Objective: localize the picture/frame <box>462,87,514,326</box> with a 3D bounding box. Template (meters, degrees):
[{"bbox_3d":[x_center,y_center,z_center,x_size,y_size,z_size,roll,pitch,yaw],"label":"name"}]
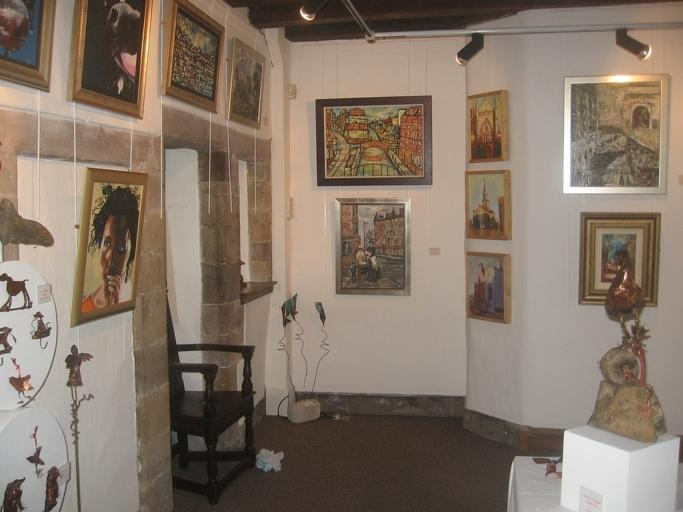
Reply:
[{"bbox_3d":[1.753,-0.577,6.655,0.165,2.724,0.765,-3,7,-29],"label":"picture/frame"}]

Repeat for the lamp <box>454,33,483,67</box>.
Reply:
[{"bbox_3d":[1.395,-2.263,6.024,0.289,0.330,0.140,-2,7,-23],"label":"lamp"}]

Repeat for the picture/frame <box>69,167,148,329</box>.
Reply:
[{"bbox_3d":[-1.691,-0.093,4.042,0.114,1.078,0.666,3,7,23],"label":"picture/frame"}]

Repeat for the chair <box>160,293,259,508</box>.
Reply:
[{"bbox_3d":[-1.347,1.471,5.738,0.867,1.706,1.083,-2,7,-19],"label":"chair"}]

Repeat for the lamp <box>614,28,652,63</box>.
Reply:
[{"bbox_3d":[3.112,-2.276,5.952,0.321,0.360,0.385,4,8,25],"label":"lamp"}]
